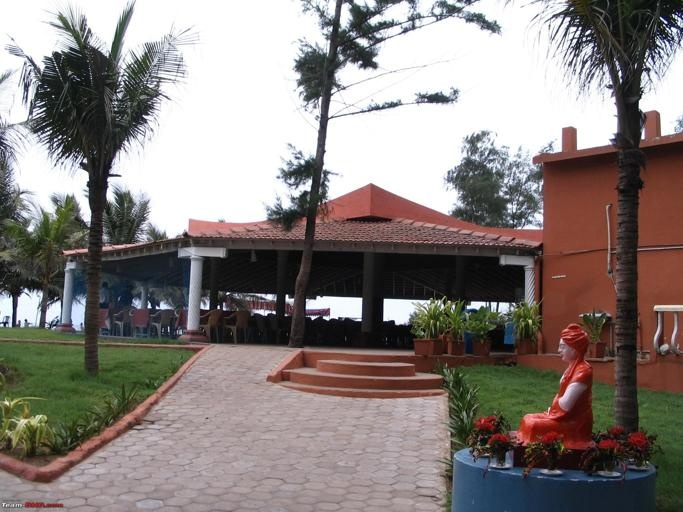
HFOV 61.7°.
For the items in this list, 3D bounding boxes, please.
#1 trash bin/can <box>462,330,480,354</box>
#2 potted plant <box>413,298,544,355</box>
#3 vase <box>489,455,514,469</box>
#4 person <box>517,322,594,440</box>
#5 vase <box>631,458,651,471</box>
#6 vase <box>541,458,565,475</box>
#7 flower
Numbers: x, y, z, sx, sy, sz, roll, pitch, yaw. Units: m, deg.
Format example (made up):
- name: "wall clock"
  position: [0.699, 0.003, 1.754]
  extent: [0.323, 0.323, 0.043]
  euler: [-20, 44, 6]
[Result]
- name: "trash bin/can"
  position: [3.094, 2.078, 13.817]
  extent: [0.489, 0.680, 0.484]
  euler: [1, -13, 1]
- name: "potted plant"
  position: [3.080, 1.711, 13.606]
  extent: [2.368, 1.160, 1.731]
  euler: [2, -5, -1]
- name: "vase"
  position: [1.442, 1.871, 5.205]
  extent: [0.225, 0.102, 0.143]
  euler: [3, -8, -14]
- name: "person"
  position: [2.159, 1.313, 5.793]
  extent: [0.672, 1.143, 0.684]
  euler: [-1, -10, 29]
- name: "vase"
  position: [2.763, 1.917, 5.265]
  extent: [0.324, 0.083, 0.116]
  euler: [8, -10, -40]
- name: "vase"
  position: [1.844, 1.855, 5.047]
  extent: [0.132, 0.086, 0.140]
  euler: [1, -10, -5]
- name: "flower"
  position: [2.035, 1.710, 5.336]
  extent: [1.603, 0.329, 0.644]
  euler: [1, -8, 1]
